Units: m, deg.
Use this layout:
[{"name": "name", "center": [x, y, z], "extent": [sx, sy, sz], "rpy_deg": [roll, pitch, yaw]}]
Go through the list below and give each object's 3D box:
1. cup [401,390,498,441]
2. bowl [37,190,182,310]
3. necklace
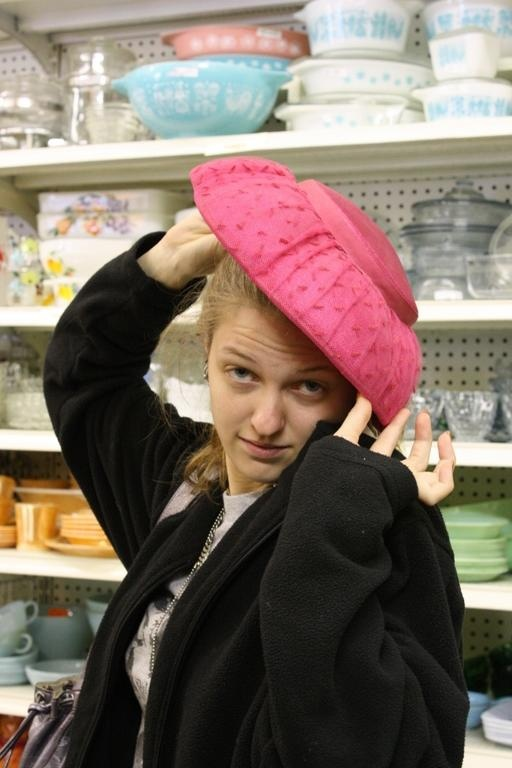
[{"name": "cup", "center": [0.489, 0.065, 1.847], "extent": [0.194, 0.102, 0.182], "rpy_deg": [0, -3, 0]}, {"name": "bowl", "center": [-0.384, -0.365, 2.093], "extent": [0.378, 0.243, 0.362], "rpy_deg": [-1, 4, 0]}, {"name": "necklace", "center": [-0.058, 0.224, 0.874], "extent": [0.043, 0.238, 0.011], "rpy_deg": [14, -32, 25]}]
